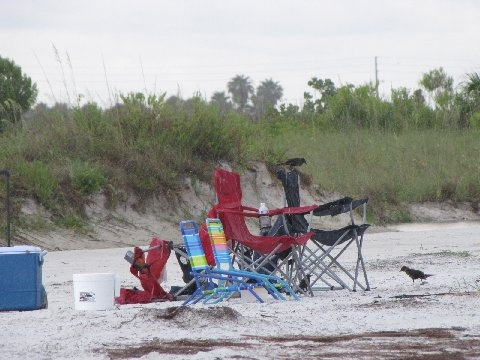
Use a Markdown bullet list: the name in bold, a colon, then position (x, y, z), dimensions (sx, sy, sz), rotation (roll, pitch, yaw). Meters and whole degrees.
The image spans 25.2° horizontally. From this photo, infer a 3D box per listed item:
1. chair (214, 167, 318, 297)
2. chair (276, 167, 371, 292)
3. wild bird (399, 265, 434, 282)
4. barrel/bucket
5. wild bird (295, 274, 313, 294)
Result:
- **chair**: position (0.417, 0.736, 25.059), dimensions (2.039, 2.208, 1.553), rotation (-2, 0, 25)
- **chair**: position (1.955, 1.169, 25.293), dimensions (2.070, 3.073, 2.470), rotation (-6, 4, -18)
- **wild bird**: position (4.137, 2.167, 25.135), dimensions (0.731, 0.338, 0.664), rotation (-5, 2, 12)
- **barrel/bucket**: position (-3.205, 2.470, 23.936), dimensions (0.599, 0.728, 0.858), rotation (0, -7, -3)
- **wild bird**: position (1.488, 2.370, 24.807), dimensions (0.101, 0.428, 0.281), rotation (24, -14, -5)
